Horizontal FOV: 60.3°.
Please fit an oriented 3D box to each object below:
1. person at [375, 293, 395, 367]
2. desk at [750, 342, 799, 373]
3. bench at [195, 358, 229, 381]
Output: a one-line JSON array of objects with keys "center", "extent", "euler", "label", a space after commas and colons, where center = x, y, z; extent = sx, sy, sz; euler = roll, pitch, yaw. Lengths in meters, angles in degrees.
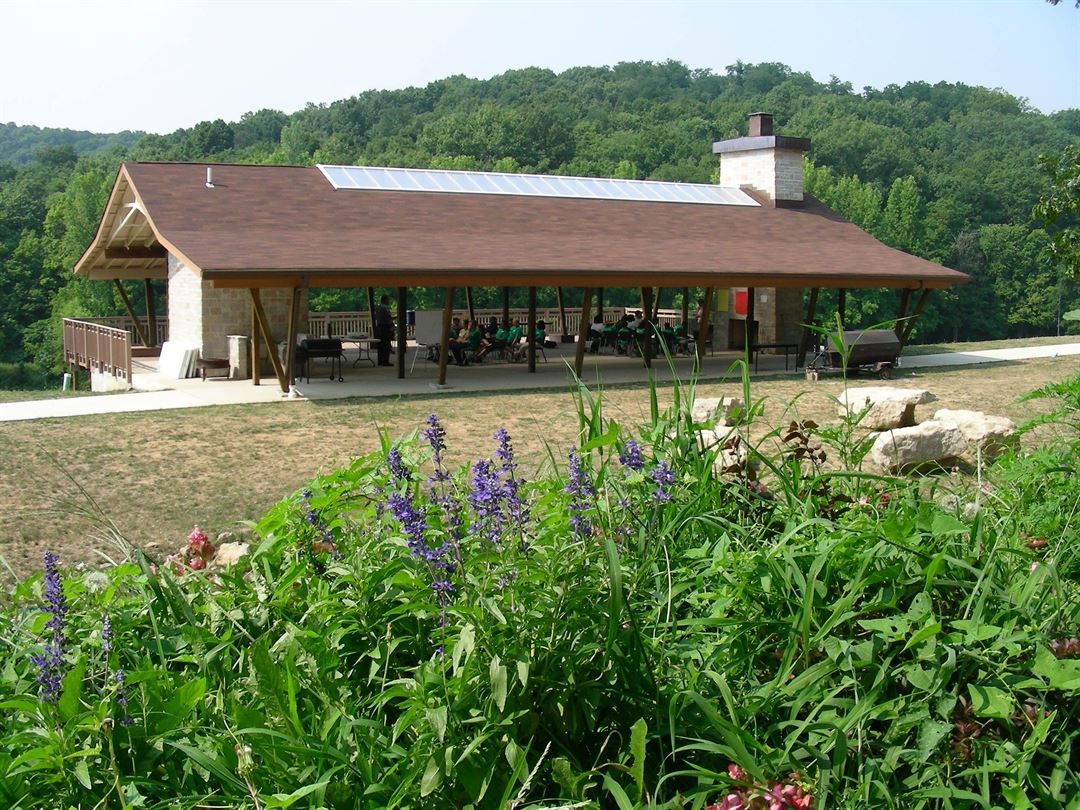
[{"center": [-3.674, -1.756, 21.542], "extent": [0.412, 1.567, 2.502], "euler": [-3, 5, -10], "label": "person"}, {"center": [5.512, -1.251, 21.755], "extent": [1.040, 0.552, 5.636], "euler": [0, 6, 16], "label": "desk"}, {"center": [-6.662, -0.784, 18.861], "extent": [0.636, 0.385, 0.552], "euler": [-4, 6, -23], "label": "bench"}]
